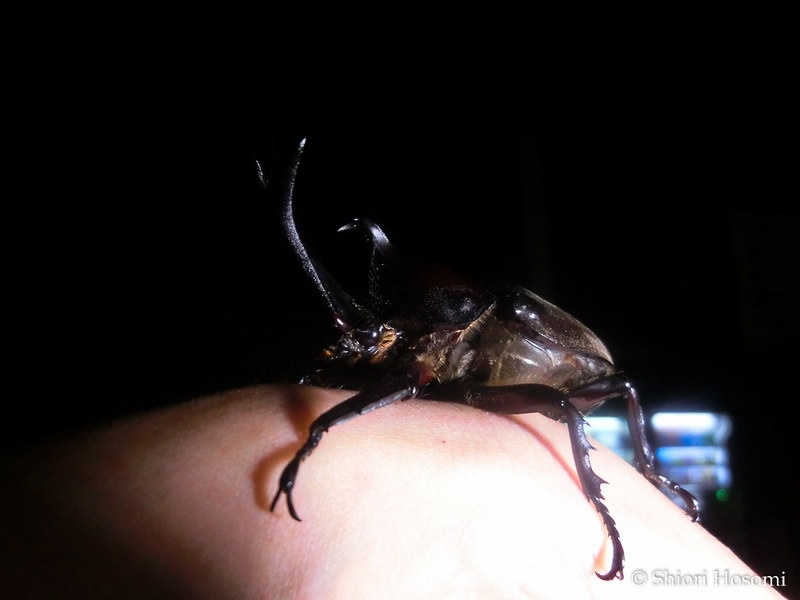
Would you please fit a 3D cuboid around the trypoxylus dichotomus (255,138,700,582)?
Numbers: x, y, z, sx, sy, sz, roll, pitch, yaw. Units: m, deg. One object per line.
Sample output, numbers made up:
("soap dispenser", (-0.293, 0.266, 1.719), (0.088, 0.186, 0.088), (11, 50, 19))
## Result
("trypoxylus dichotomus", (0.059, 0.158, 2.469), (1.419, 1.384, 0.976), (-9, 15, -37))
